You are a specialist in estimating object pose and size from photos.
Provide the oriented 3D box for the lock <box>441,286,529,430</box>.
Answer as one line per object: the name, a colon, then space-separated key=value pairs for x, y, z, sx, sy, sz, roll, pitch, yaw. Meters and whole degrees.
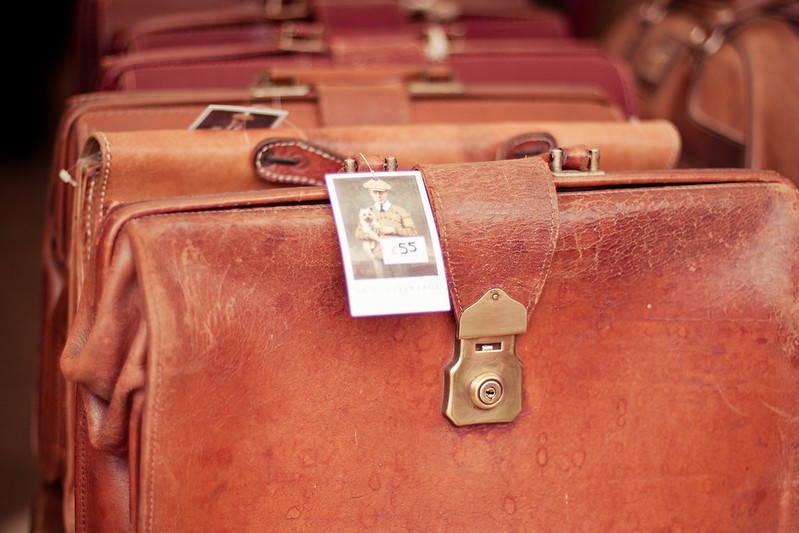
lock: x=0.098 y=0.108 z=0.990 sx=0.090 sy=0.102 sz=0.132 roll=5 pitch=56 yaw=3

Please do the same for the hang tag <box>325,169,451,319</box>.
hang tag: x=-0.018 y=-0.018 z=0.960 sx=0.165 sy=0.009 sz=0.210 roll=-5 pitch=68 yaw=-14
